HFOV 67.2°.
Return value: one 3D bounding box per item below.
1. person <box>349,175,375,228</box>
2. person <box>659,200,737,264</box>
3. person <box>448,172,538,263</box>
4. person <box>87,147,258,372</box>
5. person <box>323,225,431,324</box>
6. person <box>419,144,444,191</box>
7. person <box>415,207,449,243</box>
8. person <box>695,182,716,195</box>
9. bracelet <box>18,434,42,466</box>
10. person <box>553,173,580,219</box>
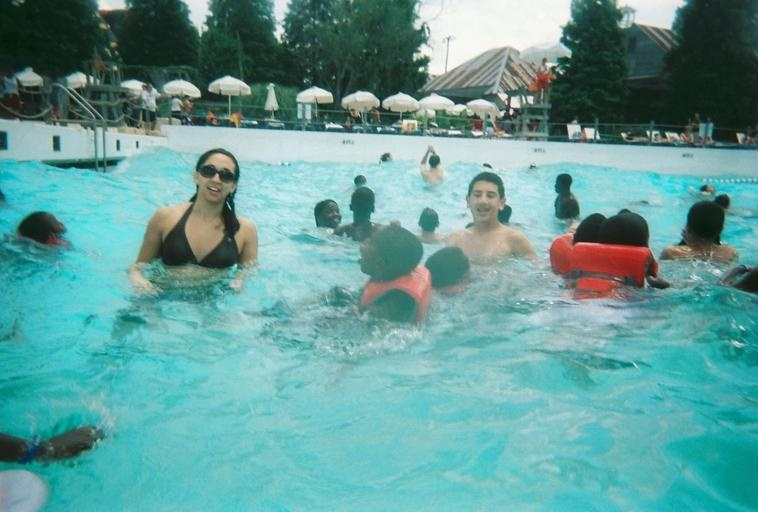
[{"bbox_3d":[-0.271,-0.725,7.814,0.311,0.286,0.915,-7,48,4],"label":"person"},{"bbox_3d":[3.930,-0.215,6.975,0.914,0.889,0.495,-2,19,0],"label":"person"},{"bbox_3d":[1.386,-0.421,7.185,1.136,1.138,0.624,1,-6,22],"label":"person"},{"bbox_3d":[-1.991,0.260,5.948,1.336,2.828,0.967,2,36,-31],"label":"person"},{"bbox_3d":[0.157,0.169,5.143,0.651,0.898,0.345,3,7,0],"label":"person"},{"bbox_3d":[1.319,-2.139,14.272,0.561,0.848,0.996,3,8,0],"label":"person"},{"bbox_3d":[0.887,-0.499,9.560,0.782,0.594,0.369,1,38,8],"label":"person"},{"bbox_3d":[8.316,-1.659,14.419,0.279,0.255,0.732,7,9,23],"label":"person"},{"bbox_3d":[-2.403,1.354,3.939,0.118,0.129,0.134,8,-17,-18],"label":"bracelet"},{"bbox_3d":[3.550,-1.098,10.883,0.553,0.899,0.607,-8,13,-12],"label":"person"}]
